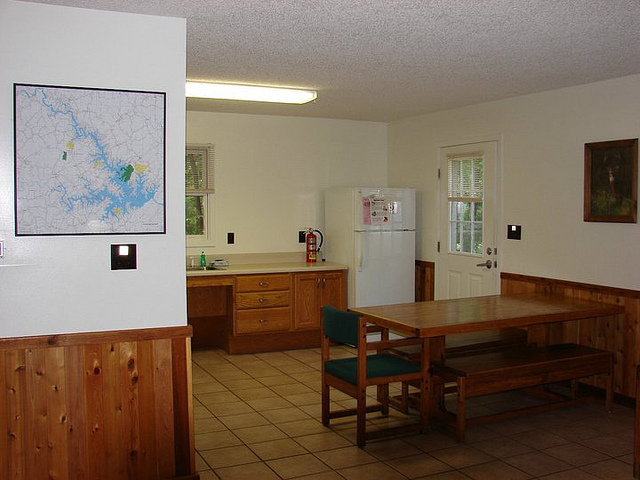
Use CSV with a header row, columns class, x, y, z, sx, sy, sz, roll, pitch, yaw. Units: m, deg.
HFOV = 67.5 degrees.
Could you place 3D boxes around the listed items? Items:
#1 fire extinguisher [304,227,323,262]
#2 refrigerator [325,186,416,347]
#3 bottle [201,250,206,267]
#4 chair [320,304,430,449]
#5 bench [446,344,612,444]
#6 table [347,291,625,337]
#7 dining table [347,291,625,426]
class,x,y,z,sx,sy,sz,roll,pitch,yaw
fire extinguisher,-0.104,0.064,6.918,0.255,0.481,0.339,1,3,9
refrigerator,0.725,0.312,6.915,0.966,2.200,0.947,-1,1,-23
bottle,-1.539,0.245,6.373,0.058,0.211,0.154,-1,4,-14
chair,0.455,1.101,4.065,0.764,1.012,0.734,0,-2,-18
bench,1.896,1.337,4.380,1.808,0.596,0.503,-1,5,-23
table,1.613,0.668,4.520,2.548,0.086,1.043,0,2,-30
dining table,1.649,1.097,4.498,2.232,0.973,0.908,-3,2,-22
